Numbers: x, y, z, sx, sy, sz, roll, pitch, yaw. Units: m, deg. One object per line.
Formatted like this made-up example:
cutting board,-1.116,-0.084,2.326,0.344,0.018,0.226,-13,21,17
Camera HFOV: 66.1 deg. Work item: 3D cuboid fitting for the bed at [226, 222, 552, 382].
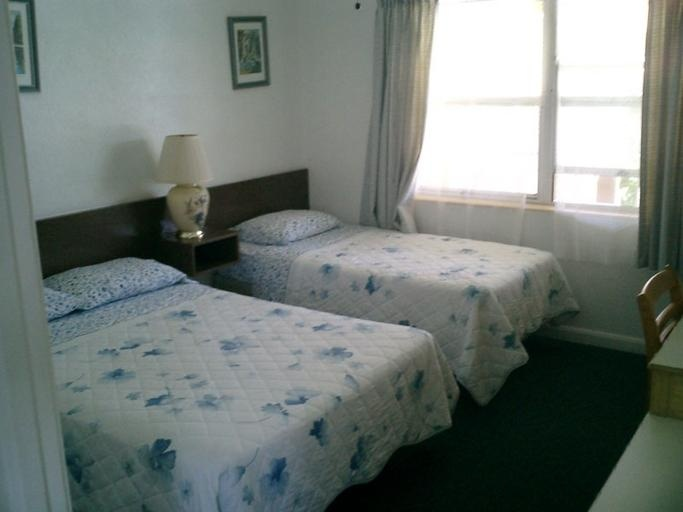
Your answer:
bed,0.334,0.150,3.543,1.670,0.432,1.051,9,23,28

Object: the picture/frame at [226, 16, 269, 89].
picture/frame,-0.767,-1.654,4.233,0.062,0.587,0.561,7,20,31

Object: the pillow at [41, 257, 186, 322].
pillow,-1.331,0.157,3.048,0.334,0.096,0.584,14,18,31

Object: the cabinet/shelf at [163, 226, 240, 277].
cabinet/shelf,-1.025,-0.025,3.693,0.332,0.216,0.487,10,18,24

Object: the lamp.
lamp,-1.046,-0.467,3.577,0.239,0.691,0.346,12,21,37
